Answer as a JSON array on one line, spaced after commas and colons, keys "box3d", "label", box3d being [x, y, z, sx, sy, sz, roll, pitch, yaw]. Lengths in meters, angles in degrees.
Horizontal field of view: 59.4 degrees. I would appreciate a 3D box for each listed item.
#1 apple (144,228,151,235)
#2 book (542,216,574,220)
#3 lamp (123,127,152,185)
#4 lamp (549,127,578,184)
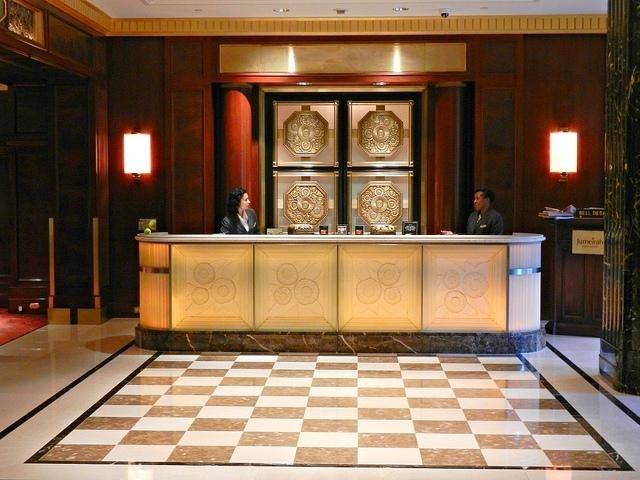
[{"box3d": [-2.023, -0.120, 6.532, 0.094, 0.049, 0.090, 7, 14, 4], "label": "apple"}, {"box3d": [3.020, -0.288, 7.083, 0.165, 0.067, 0.312, -8, 11, -44], "label": "book"}, {"box3d": [-2.545, -1.163, 7.721, 0.415, 0.685, 0.316, -1, 8, -10], "label": "lamp"}, {"box3d": [3.310, -1.165, 7.568, 0.409, 0.687, 0.300, 1, 8, 10], "label": "lamp"}]
